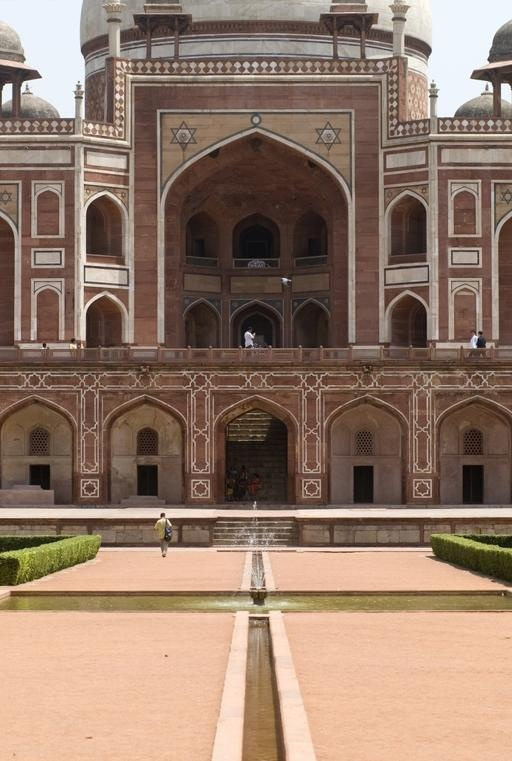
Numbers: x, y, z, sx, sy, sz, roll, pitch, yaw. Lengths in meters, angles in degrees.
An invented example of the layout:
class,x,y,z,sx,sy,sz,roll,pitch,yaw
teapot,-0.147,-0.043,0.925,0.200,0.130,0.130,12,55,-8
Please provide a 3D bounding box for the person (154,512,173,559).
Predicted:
class,x,y,z,sx,sy,sz,roll,pitch,yaw
person,-1.312,2.164,19.078,0.214,0.615,0.880,0,0,-5
